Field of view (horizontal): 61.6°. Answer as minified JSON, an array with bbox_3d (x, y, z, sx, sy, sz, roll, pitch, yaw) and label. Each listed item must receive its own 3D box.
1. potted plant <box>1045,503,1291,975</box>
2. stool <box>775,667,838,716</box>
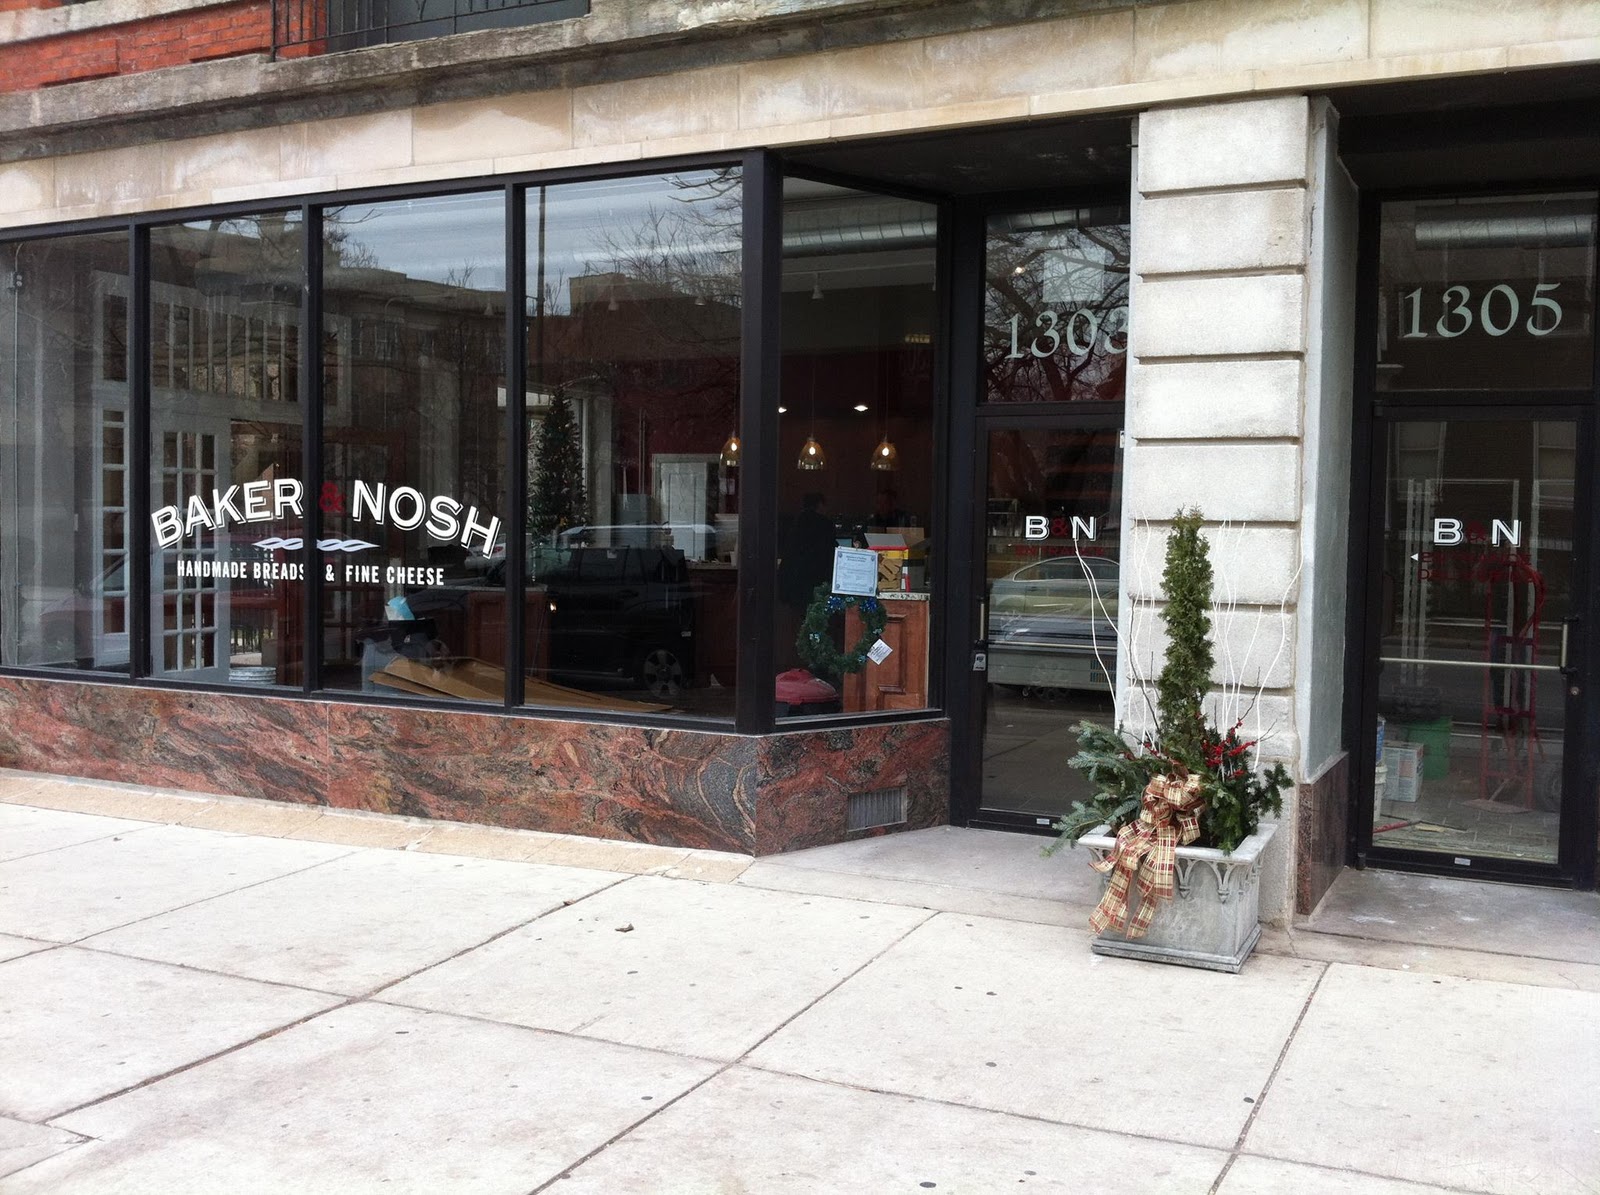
[{"bbox_3d":[2.072,0.764,7.305,1.080,2.267,0.956,3,7,24],"label":"potted plant"},{"bbox_3d":[0.041,0.641,9.054,0.311,0.119,0.318,2,29,-7],"label":"stool"}]
